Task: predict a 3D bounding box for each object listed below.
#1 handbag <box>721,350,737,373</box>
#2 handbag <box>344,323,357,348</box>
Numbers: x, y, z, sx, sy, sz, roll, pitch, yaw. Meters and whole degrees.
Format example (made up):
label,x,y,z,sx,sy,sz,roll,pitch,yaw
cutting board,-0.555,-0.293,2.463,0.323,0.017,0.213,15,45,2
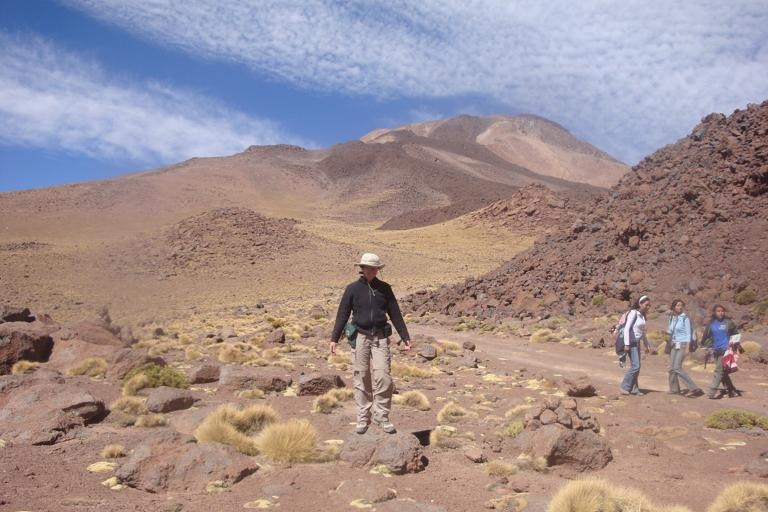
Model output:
label,x,y,z,sx,sy,sz,roll,pitch,yaw
handbag,9.482,2.863,17.748,0.379,0.602,0.424,14,18,34
handbag,-0.765,1.921,15.760,0.221,0.490,0.493,2,0,-41
